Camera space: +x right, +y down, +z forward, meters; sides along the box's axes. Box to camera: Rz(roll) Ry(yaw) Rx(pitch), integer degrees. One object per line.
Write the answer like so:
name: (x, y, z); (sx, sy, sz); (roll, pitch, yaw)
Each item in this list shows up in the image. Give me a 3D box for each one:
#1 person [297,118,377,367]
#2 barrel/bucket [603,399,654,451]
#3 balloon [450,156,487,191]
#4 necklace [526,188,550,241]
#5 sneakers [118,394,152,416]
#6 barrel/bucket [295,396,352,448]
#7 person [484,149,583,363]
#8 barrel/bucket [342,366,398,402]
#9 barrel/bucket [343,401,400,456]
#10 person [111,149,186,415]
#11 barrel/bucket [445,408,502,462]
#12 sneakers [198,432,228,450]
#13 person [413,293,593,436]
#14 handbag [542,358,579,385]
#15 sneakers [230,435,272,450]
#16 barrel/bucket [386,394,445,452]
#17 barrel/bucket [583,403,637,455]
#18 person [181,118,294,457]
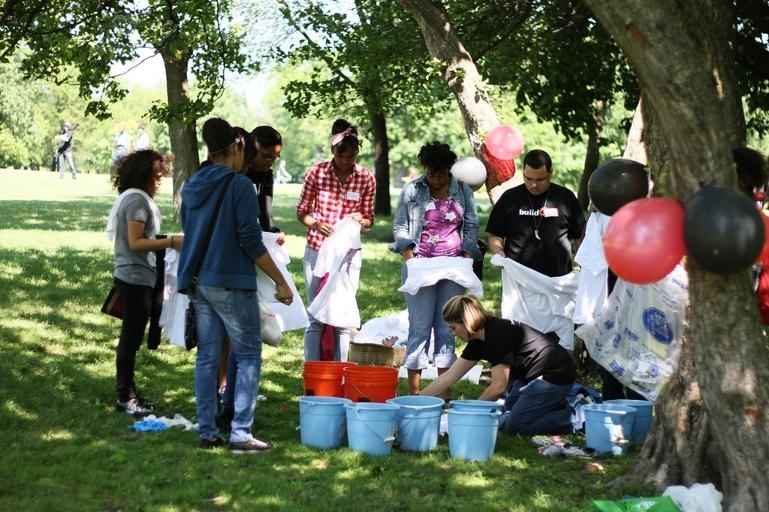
person: (-0.548, -0.189, 10.079); (0.842, 2.017, 0.726); (3, -1, -6)
barrel/bucket: (2.467, 1.669, 9.060); (0.419, 0.366, 0.456); (0, -3, 0)
balloon: (1.013, -0.910, 10.298); (0.419, 0.358, 0.414); (16, -10, -37)
necklace: (1.675, -0.442, 9.874); (0.140, 0.559, 0.025); (4, -2, 11)
sneakers: (-2.551, 1.527, 9.432); (0.392, 0.206, 0.180); (4, 1, -3)
barrel/bucket: (-0.606, 1.585, 8.789); (0.450, 0.360, 0.472); (3, -8, 0)
person: (1.763, 0.225, 10.167); (1.152, 2.880, 0.900); (-1, 30, 13)
barrel/bucket: (-0.127, 1.288, 9.215); (0.378, 0.374, 0.403); (3, -4, 0)
barrel/bucket: (-0.119, 1.614, 8.712); (0.468, 0.370, 0.469); (1, -4, 0)
person: (-2.509, 0.263, 9.363); (0.751, 2.400, 0.549); (2, -2, 35)
barrel/bucket: (0.871, 1.726, 8.824); (0.617, 0.498, 0.602); (2, -16, 1)
sneakers: (-1.634, 1.778, 8.761); (0.278, 0.127, 0.102); (-1, 2, -27)
person: (1.168, 1.241, 9.476); (1.696, 1.314, 1.081); (1, -7, -2)
handbag: (1.749, 1.144, 9.110); (0.295, 0.296, 0.219); (8, -4, 13)
sneakers: (-1.271, 1.803, 8.751); (0.394, 0.191, 0.147); (-1, -3, -4)
barrel/bucket: (0.350, 1.668, 8.909); (0.480, 0.409, 0.501); (-8, -9, -1)
barrel/bucket: (2.168, 1.653, 8.726); (0.395, 0.392, 0.465); (1, -6, -15)
person: (-1.485, 0.481, 8.694); (0.974, 2.463, 0.409); (3, -1, -14)
